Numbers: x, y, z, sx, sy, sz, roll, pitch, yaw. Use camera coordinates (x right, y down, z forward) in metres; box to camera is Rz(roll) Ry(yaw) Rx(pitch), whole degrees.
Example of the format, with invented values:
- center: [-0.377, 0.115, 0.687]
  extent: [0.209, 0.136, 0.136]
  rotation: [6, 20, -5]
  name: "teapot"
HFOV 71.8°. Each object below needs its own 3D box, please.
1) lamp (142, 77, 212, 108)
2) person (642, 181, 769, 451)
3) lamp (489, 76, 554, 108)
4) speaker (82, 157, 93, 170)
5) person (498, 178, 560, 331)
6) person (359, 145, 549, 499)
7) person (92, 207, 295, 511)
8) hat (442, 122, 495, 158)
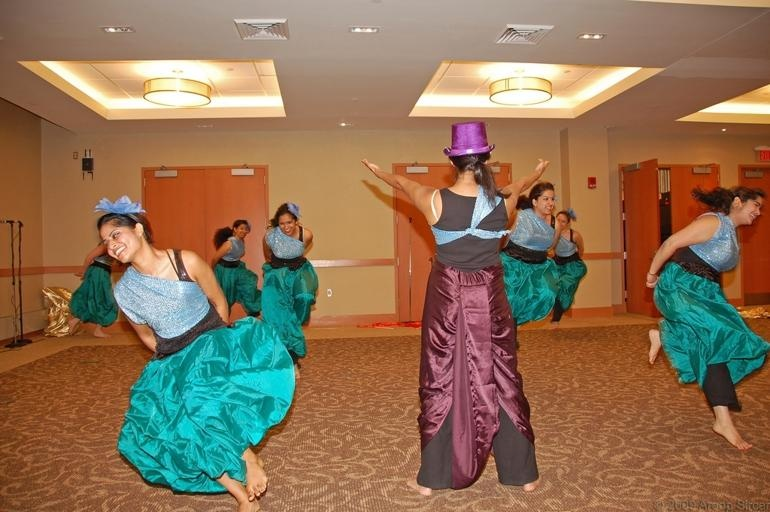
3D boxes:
- center: [-2.965, -2.350, 7.566]
  extent: [0.704, 0.342, 0.795]
  rotation: [10, 15, 43]
  name: "lamp"
- center: [2.868, 0.472, 4.716]
  extent: [0.936, 2.139, 0.767]
  rotation: [7, 14, 35]
  name: "person"
- center: [1.989, -2.451, 7.783]
  extent: [0.856, 0.349, 0.735]
  rotation: [-3, 11, -9]
  name: "lamp"
- center: [-5.166, -1.605, 9.191]
  extent: [0.194, 0.258, 0.139]
  rotation: [1, 14, -11]
  name: "speaker"
- center: [1.643, 0.089, 5.849]
  extent: [0.705, 1.684, 0.575]
  rotation: [12, 22, 14]
  name: "person"
- center: [0.651, 0.486, 4.058]
  extent: [0.921, 2.613, 0.706]
  rotation: [-2, 12, -4]
  name: "person"
- center: [-1.392, 0.713, 3.913]
  extent: [1.314, 2.282, 0.638]
  rotation: [2, 12, 13]
  name: "person"
- center: [0.614, -0.852, 4.052]
  extent: [0.302, 0.152, 0.301]
  rotation: [-2, 12, 34]
  name: "hat"
